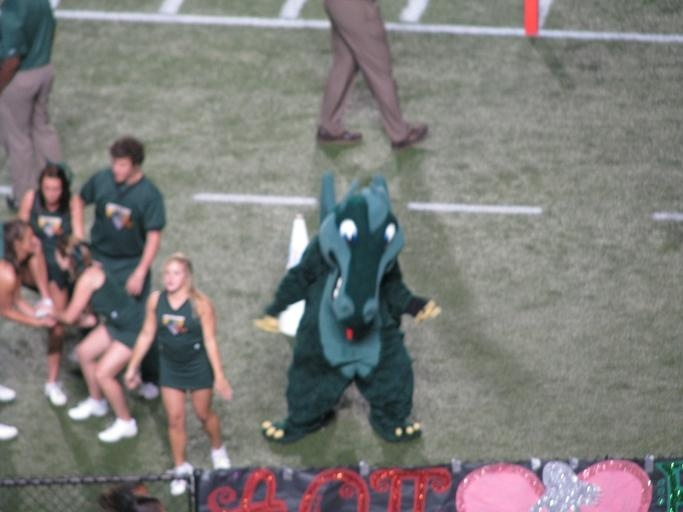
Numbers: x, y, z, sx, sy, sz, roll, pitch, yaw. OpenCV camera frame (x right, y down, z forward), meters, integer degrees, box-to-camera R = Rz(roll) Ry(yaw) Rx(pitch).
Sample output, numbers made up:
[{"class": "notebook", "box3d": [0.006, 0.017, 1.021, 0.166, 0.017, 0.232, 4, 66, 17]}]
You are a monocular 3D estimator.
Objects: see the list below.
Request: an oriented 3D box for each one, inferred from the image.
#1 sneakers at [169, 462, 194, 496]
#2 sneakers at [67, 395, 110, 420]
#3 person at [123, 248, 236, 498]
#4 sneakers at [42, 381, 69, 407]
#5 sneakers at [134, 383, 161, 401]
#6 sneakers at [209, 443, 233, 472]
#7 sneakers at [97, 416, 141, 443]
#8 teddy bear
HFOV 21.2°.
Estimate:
[{"class": "sneakers", "box3d": [-1.489, 2.126, 16.924, 0.128, 0.411, 0.161, 12, -12, 2]}, {"class": "sneakers", "box3d": [-2.357, 1.466, 16.967, 0.313, 0.155, 0.198, -10, 60, -6]}, {"class": "person", "box3d": [-1.448, 1.138, 16.702, 1.031, 2.270, 0.864, -12, 23, -29]}, {"class": "sneakers", "box3d": [-2.660, 1.312, 16.983, 0.136, 0.271, 0.112, -33, -5, 9]}, {"class": "sneakers", "box3d": [-1.811, 1.294, 17.035, 0.191, 0.149, 0.083, 5, 4, -7]}, {"class": "sneakers", "box3d": [-1.138, 1.931, 17.008, 0.100, 0.295, 0.115, -16, 6, 1]}, {"class": "sneakers", "box3d": [-2.063, 1.671, 16.966, 0.322, 0.168, 0.189, -20, 33, -3]}, {"class": "teddy bear", "box3d": [0.012, 0.586, 16.753, 1.356, 2.384, 0.672, -2, 31, 1]}]
